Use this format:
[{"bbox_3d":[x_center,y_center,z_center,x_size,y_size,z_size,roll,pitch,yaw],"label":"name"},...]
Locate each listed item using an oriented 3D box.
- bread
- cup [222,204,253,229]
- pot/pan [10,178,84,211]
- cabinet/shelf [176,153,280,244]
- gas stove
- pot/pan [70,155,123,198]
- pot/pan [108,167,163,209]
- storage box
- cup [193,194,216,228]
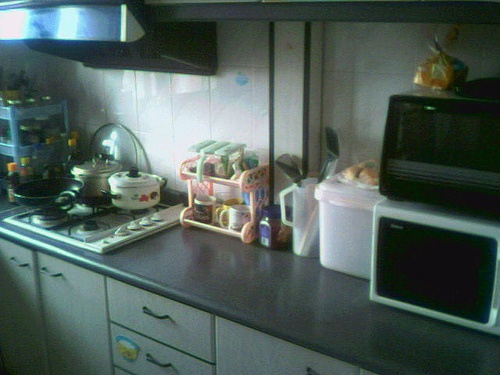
[{"bbox_3d":[0.610,-0.365,1.413,0.150,0.107,0.054,5,14,16],"label":"bread"},{"bbox_3d":[-0.065,0.131,1.964,0.119,0.103,0.135,-4,13,-19],"label":"cup"},{"bbox_3d":[-0.945,0.025,2.087,0.262,0.083,0.195,13,21,35],"label":"pot/pan"},{"bbox_3d":[-0.131,0.028,2.034,0.420,0.371,0.228,8,15,30],"label":"cabinet/shelf"},{"bbox_3d":[-0.723,0.145,2.048,0.849,0.148,0.566,-2,12,-12],"label":"gas stove"},{"bbox_3d":[-0.779,-0.059,2.311,0.207,0.167,0.268,18,28,37],"label":"pot/pan"},{"bbox_3d":[-0.554,0.018,2.154,0.332,0.133,0.197,7,21,14],"label":"pot/pan"},{"bbox_3d":[0.361,0.126,1.679,0.316,0.367,0.418,6,12,34],"label":"storage box"},{"bbox_3d":[-0.208,0.100,2.015,0.129,0.120,0.123,1,18,0],"label":"cup"}]
